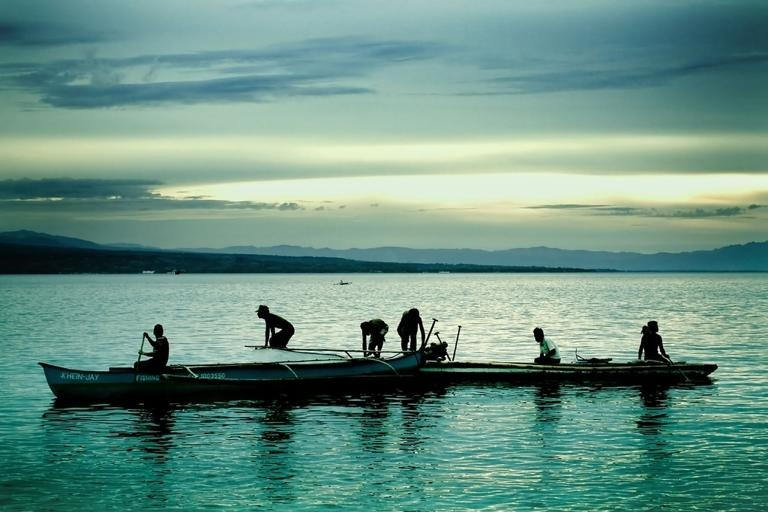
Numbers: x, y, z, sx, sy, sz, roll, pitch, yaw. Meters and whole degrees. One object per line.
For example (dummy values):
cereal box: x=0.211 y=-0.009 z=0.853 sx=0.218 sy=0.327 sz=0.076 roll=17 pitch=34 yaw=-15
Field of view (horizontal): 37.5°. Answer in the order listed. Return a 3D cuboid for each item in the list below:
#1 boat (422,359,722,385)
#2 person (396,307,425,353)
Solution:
boat: x=10.159 y=6.634 z=64.350 sx=15.734 sy=1.276 sz=1.377 roll=1 pitch=2 yaw=3
person: x=1.626 y=3.872 z=66.059 sx=1.527 sy=0.677 sz=2.449 roll=1 pitch=36 yaw=4
